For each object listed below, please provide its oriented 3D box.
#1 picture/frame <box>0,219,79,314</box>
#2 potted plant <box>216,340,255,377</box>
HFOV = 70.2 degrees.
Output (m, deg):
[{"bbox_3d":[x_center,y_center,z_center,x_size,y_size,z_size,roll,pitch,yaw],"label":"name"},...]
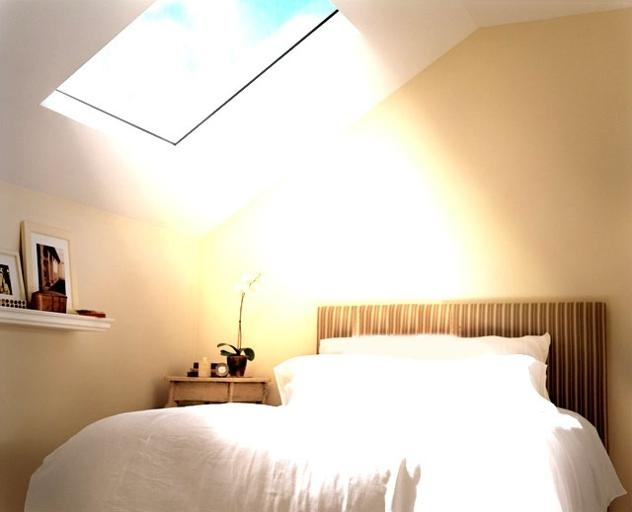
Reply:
[{"bbox_3d":[-1.769,0.077,2.860,0.053,0.849,0.434,-20,-24,27],"label":"picture/frame"},{"bbox_3d":[-0.657,0.847,3.651,0.266,0.220,0.278,-6,-16,20],"label":"potted plant"}]
